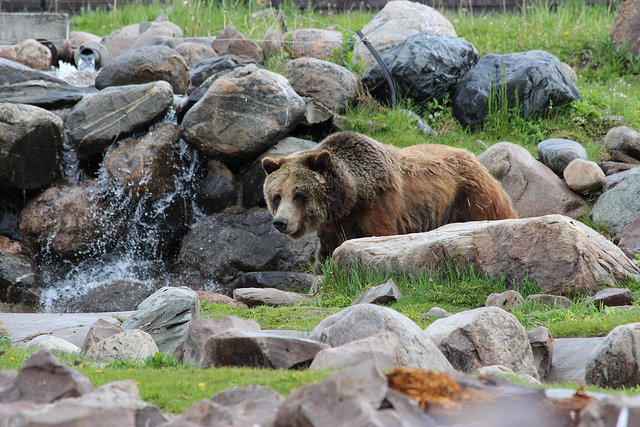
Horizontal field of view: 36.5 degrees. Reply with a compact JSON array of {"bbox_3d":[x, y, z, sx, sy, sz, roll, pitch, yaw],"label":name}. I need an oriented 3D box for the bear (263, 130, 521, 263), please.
[{"bbox_3d":[1.732,0.142,20.219,5.681,3.611,2.067,0,-4,-26],"label":"bear"}]

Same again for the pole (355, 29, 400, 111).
[{"bbox_3d":[1.345,-3.842,24.316,0.381,0.456,2.867,22,39,-47],"label":"pole"}]
